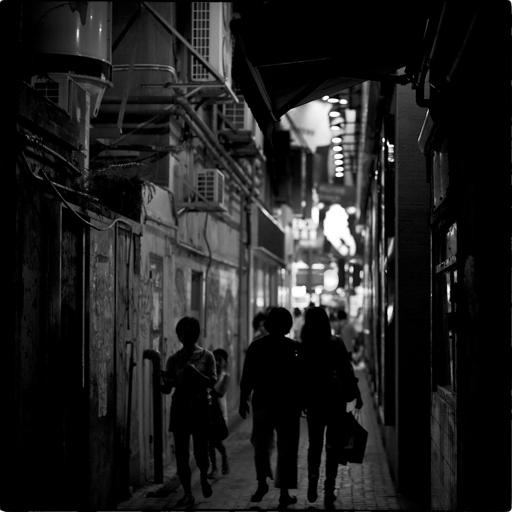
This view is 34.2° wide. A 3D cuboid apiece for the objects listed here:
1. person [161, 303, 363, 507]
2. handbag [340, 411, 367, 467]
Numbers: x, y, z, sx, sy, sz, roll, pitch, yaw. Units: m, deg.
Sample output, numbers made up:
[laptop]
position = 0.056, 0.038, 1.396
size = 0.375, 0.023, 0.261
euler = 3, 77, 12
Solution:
[person]
position = 0.384, 1.406, 7.845
size = 1.075, 1.875, 0.379
euler = 1, -7, -6
[handbag]
position = 0.915, 1.724, 7.848
size = 0.241, 0.490, 0.135
euler = 1, -1, 21
